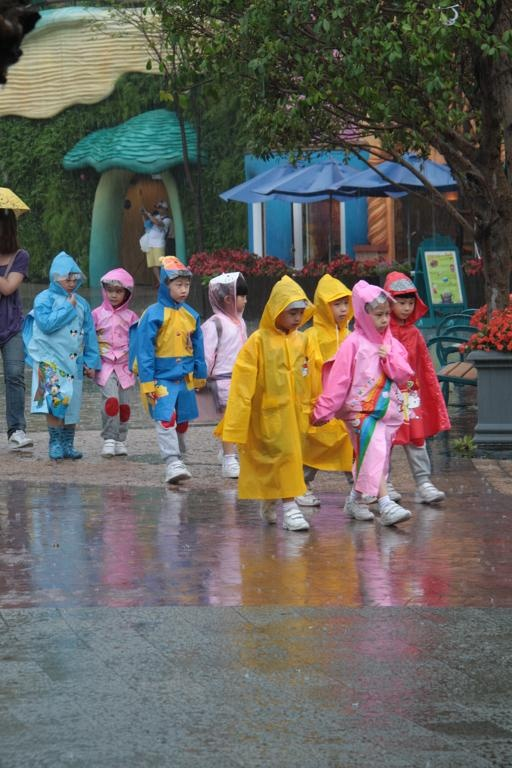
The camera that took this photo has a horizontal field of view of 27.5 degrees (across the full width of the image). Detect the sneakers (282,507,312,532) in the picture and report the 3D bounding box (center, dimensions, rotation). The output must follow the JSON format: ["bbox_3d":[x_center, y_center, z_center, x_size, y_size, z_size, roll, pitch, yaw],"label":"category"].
[{"bbox_3d":[0.230,0.771,6.008,0.143,0.140,0.219,0,4,-1],"label":"sneakers"}]

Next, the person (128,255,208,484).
[{"bbox_3d":[-0.612,-0.110,7.621,0.488,1.627,0.739,0,4,-1],"label":"person"}]

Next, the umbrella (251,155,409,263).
[{"bbox_3d":[1.667,-4.226,25.147,3.262,3.026,3.224,0,-2,-1],"label":"umbrella"}]

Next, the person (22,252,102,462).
[{"bbox_3d":[-1.580,-0.237,8.614,0.630,1.692,0.595,-1,5,-12],"label":"person"}]

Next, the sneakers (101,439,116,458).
[{"bbox_3d":[-1.209,0.541,8.646,0.113,0.138,0.137,-1,4,-9],"label":"sneakers"}]

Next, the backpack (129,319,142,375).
[{"bbox_3d":[-0.970,-0.345,8.608,0.144,0.456,0.164,-3,-3,-8],"label":"backpack"}]

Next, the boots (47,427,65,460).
[{"bbox_3d":[-1.607,0.491,8.475,0.116,0.250,0.225,-1,4,-11],"label":"boots"}]

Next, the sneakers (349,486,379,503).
[{"bbox_3d":[0.640,0.672,6.249,0.199,0.082,0.075,-1,4,43],"label":"sneakers"}]

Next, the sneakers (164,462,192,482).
[{"bbox_3d":[-0.555,0.634,7.446,0.165,0.166,0.271,-1,4,-4],"label":"sneakers"}]

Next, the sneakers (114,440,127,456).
[{"bbox_3d":[-1.132,0.548,8.721,0.118,0.126,0.321,0,-6,-11],"label":"sneakers"}]

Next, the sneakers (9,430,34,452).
[{"bbox_3d":[-2.006,0.503,9.012,0.114,0.156,0.297,1,-5,-37],"label":"sneakers"}]

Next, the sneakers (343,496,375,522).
[{"bbox_3d":[0.611,0.764,6.304,0.087,0.097,0.231,-10,13,-31],"label":"sneakers"}]

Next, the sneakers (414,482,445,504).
[{"bbox_3d":[1.094,0.696,6.626,0.219,0.145,0.168,2,5,25],"label":"sneakers"}]

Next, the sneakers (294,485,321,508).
[{"bbox_3d":[0.340,0.769,6.886,0.095,0.163,0.250,2,-7,-31],"label":"sneakers"}]

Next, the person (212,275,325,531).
[{"bbox_3d":[0.063,0.025,6.120,0.481,1.276,0.501,0,4,1],"label":"person"}]

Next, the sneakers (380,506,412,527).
[{"bbox_3d":[0.786,0.758,5.956,0.088,0.090,0.203,-15,-1,-31],"label":"sneakers"}]

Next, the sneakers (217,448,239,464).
[{"bbox_3d":[-0.220,0.566,7.997,0.087,0.090,0.240,-3,-1,-17],"label":"sneakers"}]

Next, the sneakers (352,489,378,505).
[{"bbox_3d":[0.648,0.686,6.245,0.070,0.073,0.186,-3,2,-41],"label":"sneakers"}]
